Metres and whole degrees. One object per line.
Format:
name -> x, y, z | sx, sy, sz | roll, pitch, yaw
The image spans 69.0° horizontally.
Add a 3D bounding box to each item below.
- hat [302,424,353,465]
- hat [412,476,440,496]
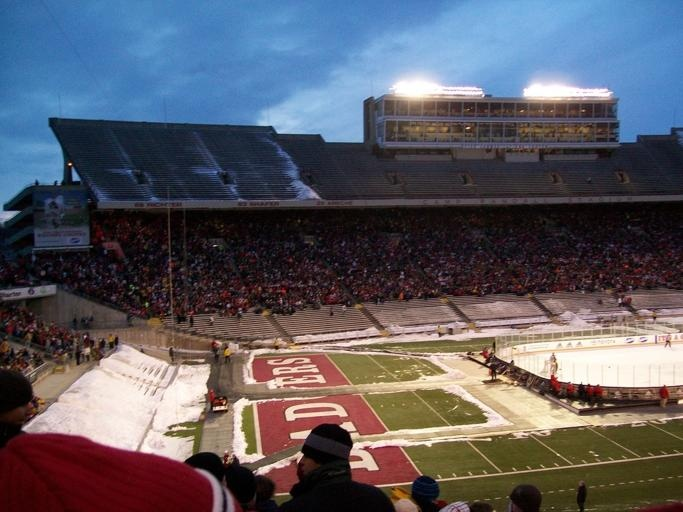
hat -> -0.072, 1.196, 3.238 | 0.383, 0.176, 0.307 | -1, 0, 11
hat -> 0.806, 2.250, 4.818 | 0.248, 0.224, 0.307 | -2, 3, 5
